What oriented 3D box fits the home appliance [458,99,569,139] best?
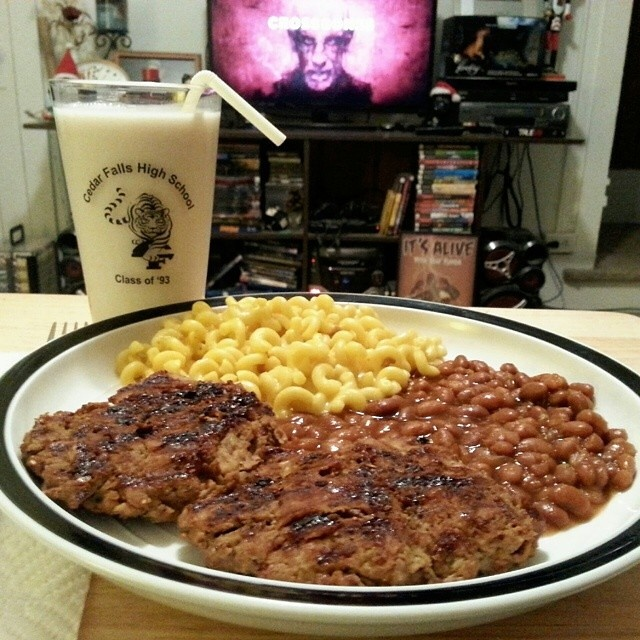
[{"bbox_3d":[1.237,-1.276,4.152,0.466,0.129,0.406,2,3,6],"label":"home appliance"}]

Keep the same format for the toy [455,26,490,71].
[{"bbox_3d":[0.924,-1.655,3.997,0.192,0.266,0.055,5,26,4],"label":"toy"}]
